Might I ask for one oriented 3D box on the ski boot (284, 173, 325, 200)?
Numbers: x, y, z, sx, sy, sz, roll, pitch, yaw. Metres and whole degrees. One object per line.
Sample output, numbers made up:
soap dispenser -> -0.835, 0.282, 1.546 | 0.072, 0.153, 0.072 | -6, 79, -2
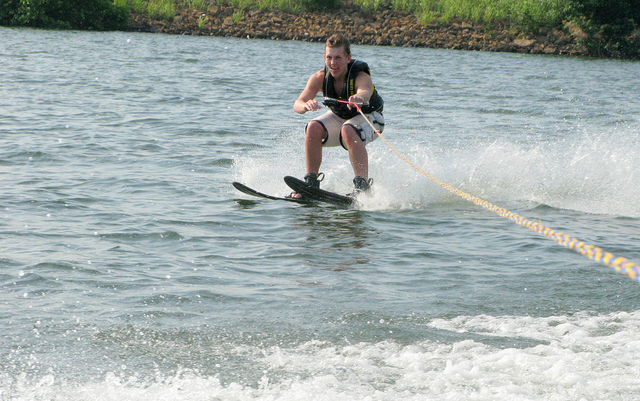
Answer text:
ski boot -> -0.226, -0.227, 13.550 | 0.490, 0.330, 0.545 | 3, 17, 5

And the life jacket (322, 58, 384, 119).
life jacket -> 0.300, -1.561, 13.682 | 0.877, 0.803, 0.445 | -3, 48, 15

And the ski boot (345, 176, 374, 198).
ski boot -> 0.522, -0.178, 13.370 | 0.288, 0.262, 0.261 | 7, 20, 15
